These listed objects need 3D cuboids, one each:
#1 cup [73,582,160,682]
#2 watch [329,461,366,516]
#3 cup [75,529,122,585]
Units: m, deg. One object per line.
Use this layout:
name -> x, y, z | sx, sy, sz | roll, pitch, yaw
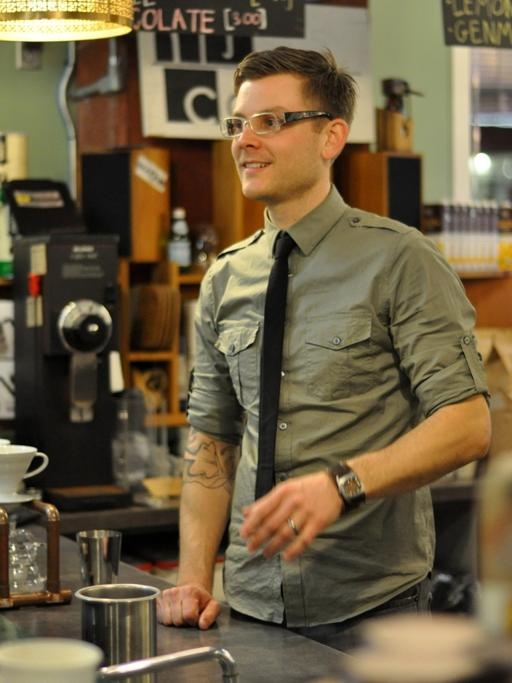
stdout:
cup -> -0.158, 0.333, 0.991 | 0.117, 0.126, 0.099 | -1, 0, -7
watch -> 0.122, 0.217, 1.224 | 0.055, 0.065, 0.028 | -18, -18, -41
cup -> -0.246, 0.338, 1.314 | 0.062, 0.095, 0.118 | -1, 3, -10
